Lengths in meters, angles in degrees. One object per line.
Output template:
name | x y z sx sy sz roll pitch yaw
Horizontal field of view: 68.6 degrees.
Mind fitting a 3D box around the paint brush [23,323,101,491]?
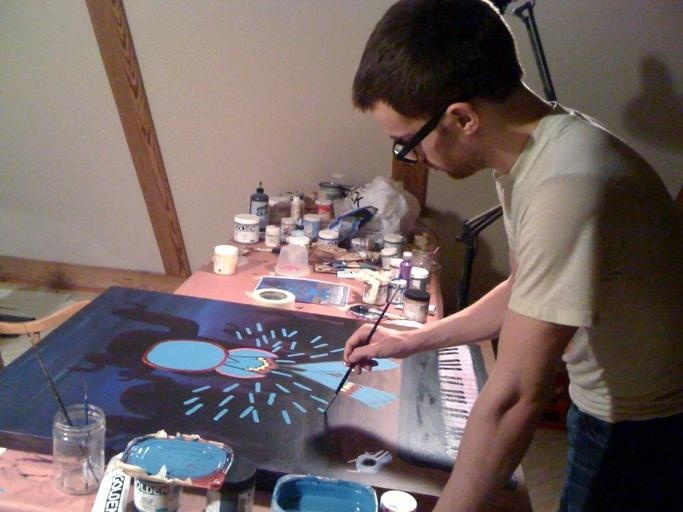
paint brush | -0.762 0.423 1.369 0.195 0.498 0.154 -11 25 -35

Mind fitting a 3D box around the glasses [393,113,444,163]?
glasses | 0.201 -0.297 1.291 0.031 0.107 0.092 39 -2 -2

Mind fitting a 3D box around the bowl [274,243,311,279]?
bowl | -0.240 0.028 2.494 0.153 0.119 0.160 2 15 -1

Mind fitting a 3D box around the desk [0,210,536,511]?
desk | -0.326 0.384 1.623 1.019 0.264 0.722 15 28 5

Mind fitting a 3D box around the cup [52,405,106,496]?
cup | -0.652 0.472 1.247 0.131 0.160 0.161 -5 27 -10
